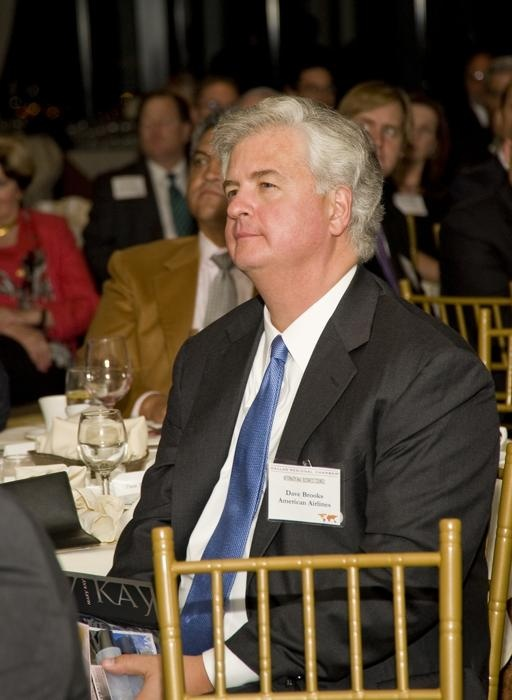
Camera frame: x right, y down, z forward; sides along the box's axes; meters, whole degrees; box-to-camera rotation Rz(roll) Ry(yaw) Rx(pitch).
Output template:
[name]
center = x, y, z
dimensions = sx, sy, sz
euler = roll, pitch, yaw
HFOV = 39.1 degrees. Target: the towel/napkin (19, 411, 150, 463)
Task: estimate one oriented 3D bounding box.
[towel/napkin]
center = -0.386, 0.195, 1.650
dimensions = 0.190, 0.054, 0.161
euler = 6, 7, 8
